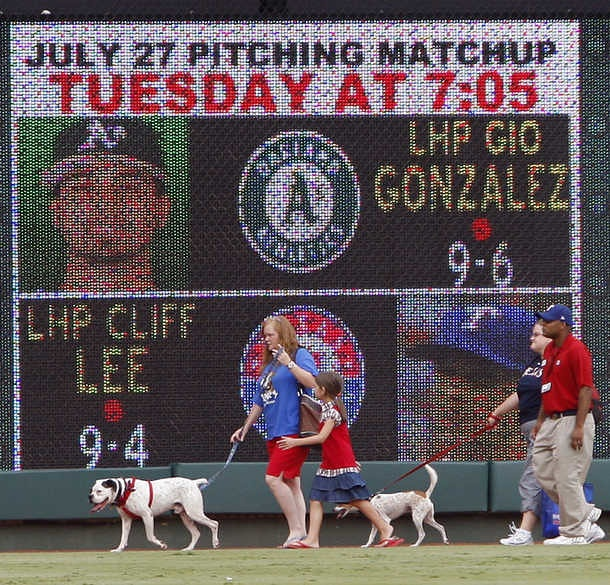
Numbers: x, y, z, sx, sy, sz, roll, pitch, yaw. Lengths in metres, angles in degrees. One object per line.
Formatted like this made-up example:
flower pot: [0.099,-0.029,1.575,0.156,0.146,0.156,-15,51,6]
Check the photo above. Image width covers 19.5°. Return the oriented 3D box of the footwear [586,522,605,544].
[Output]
footwear: [2.119,1.757,12.942,0.109,0.124,0.284,-2,3,9]

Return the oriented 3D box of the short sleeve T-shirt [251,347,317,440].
short sleeve T-shirt: [-0.136,0.772,13.454,0.586,0.580,0.233,-29,-35,30]

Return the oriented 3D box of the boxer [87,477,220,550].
boxer: [-1.153,1.705,13.574,1.024,0.553,0.297,2,-7,-20]

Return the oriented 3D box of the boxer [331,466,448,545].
boxer: [0.635,1.657,13.677,0.912,0.585,0.195,-1,-2,-13]

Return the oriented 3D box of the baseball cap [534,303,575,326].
baseball cap: [1.809,0.162,12.887,0.253,0.125,0.161,10,1,1]

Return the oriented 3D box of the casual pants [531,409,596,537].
casual pants: [1.838,1.315,12.763,0.481,0.872,0.274,-3,-4,25]

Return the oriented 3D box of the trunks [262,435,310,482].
trunks: [-0.193,1.274,13.453,0.322,0.382,0.429,20,-12,-16]

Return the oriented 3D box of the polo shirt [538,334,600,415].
polo shirt: [1.892,0.596,12.890,0.324,0.595,0.648,2,-4,-19]

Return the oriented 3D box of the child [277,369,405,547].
child: [0.221,1.235,13.145,0.805,1.282,0.234,-1,-4,-3]
